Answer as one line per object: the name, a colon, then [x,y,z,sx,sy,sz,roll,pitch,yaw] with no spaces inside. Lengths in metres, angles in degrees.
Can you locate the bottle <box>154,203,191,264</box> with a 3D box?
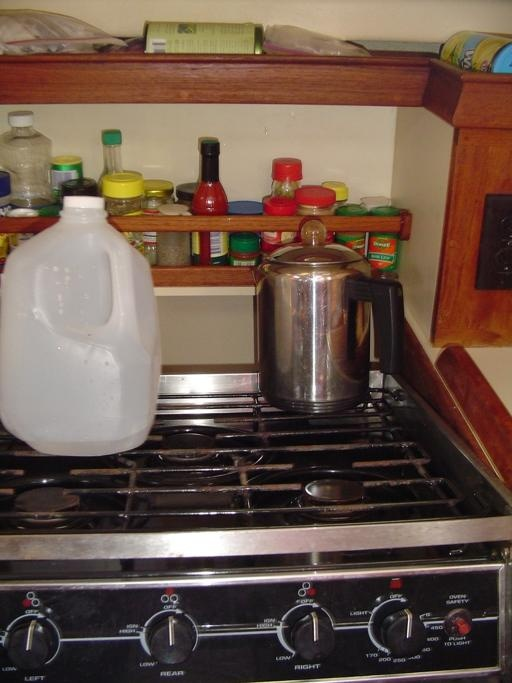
bottle: [-0.153,-0.200,1.209,0.091,0.122,0.080,1,25,-5]

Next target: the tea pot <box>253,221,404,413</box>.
tea pot: [0.100,-0.046,1.050,0.300,0.273,0.196,15,25,37]
